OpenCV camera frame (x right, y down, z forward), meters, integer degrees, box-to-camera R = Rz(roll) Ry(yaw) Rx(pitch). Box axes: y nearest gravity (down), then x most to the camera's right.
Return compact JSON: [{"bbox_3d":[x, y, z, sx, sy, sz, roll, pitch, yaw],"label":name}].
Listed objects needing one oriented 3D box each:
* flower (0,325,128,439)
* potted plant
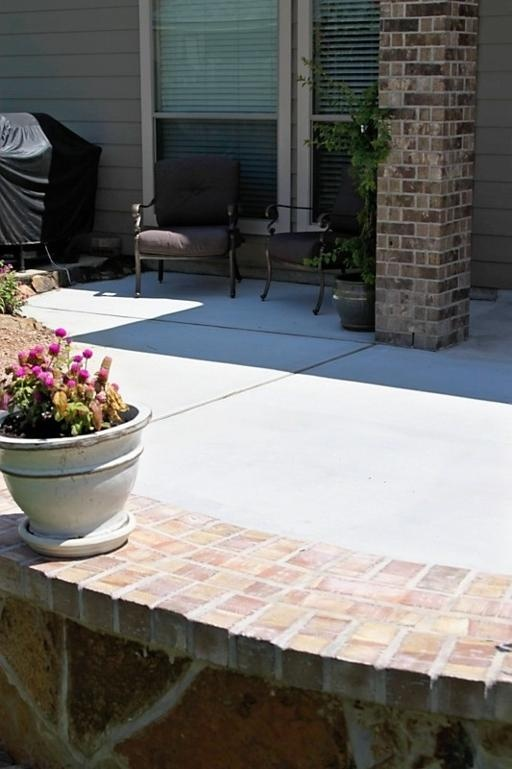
[{"bbox_3d":[-0.590,0.013,2.026,0.352,0.236,0.351,0,14,-11],"label":"flower"},{"bbox_3d":[0.726,-1.743,5.137,0.592,1.442,0.679,-16,11,-16],"label":"potted plant"}]
